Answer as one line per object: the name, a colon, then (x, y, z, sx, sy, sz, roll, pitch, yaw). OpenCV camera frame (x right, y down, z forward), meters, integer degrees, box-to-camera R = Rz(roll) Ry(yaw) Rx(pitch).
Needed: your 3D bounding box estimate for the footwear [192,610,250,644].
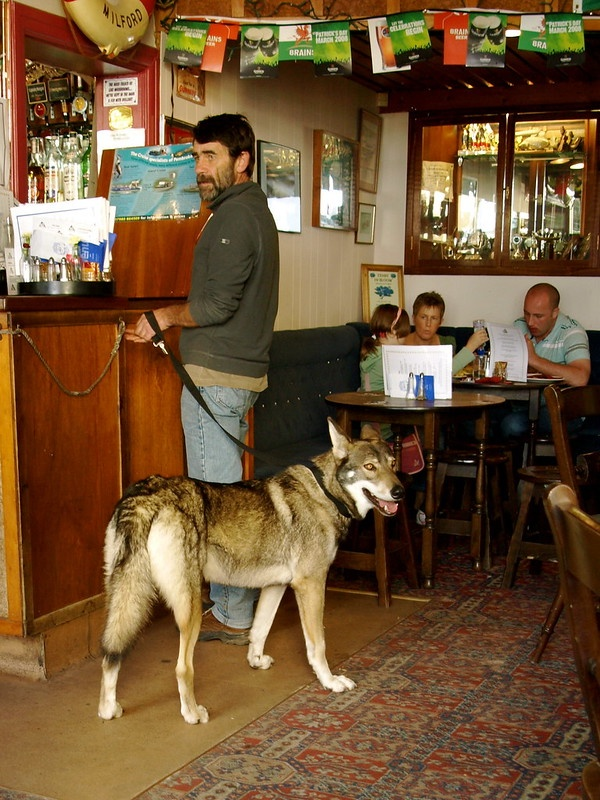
footwear: (-0.347, 0.997, 2.986, 0.280, 0.131, 0.103, -1, -4, 18)

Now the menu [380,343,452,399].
menu: (0.680, -0.164, 3.900, 0.348, 0.275, 0.027, 0, -5, 16)

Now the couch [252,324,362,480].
couch: (0.014, 0.009, 4.150, 0.325, 0.508, 0.998, 3, 11, 18)

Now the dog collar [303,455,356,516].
dog collar: (0.121, 0.318, 2.498, 0.194, 0.047, 0.149, 40, -10, 1)

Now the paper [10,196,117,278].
paper: (-0.971, -0.647, 2.733, 0.397, 0.364, 0.281, 2, -2, -19)

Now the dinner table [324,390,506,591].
dinner table: (0.595, 0.493, 3.789, 1.089, 0.990, 1.066, 0, -19, 16)

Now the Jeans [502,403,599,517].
Jeans: (1.838, 0.316, 5.008, 0.579, 0.716, 0.672, 2, -3, -15)

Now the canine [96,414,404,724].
canine: (-0.183, 0.609, 2.402, 1.232, 0.847, 0.369, 5, -7, -41)

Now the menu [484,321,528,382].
menu: (1.420, -0.330, 4.583, 0.272, 0.407, 0.218, 0, -2, 12)
